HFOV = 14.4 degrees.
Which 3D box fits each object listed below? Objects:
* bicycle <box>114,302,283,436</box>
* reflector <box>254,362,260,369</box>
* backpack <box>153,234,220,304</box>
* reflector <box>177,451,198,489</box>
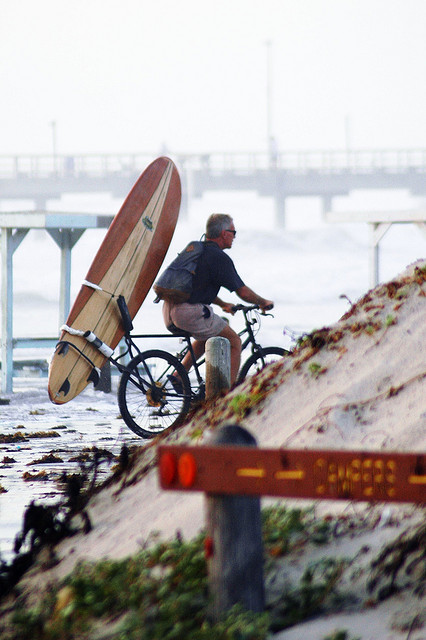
[{"bbox_3d":[-0.018,0.356,11.761,1.312,1.043,0.725,0,-16,-4],"label":"bicycle"},{"bbox_3d":[0.296,0.321,11.837,0.036,0.026,0.020,-18,26,3],"label":"reflector"},{"bbox_3d":[-0.177,-0.313,11.390,0.322,0.528,0.367,21,-19,18],"label":"backpack"},{"bbox_3d":[-0.123,0.660,7.351,0.017,0.148,0.108,4,3,-45],"label":"reflector"}]
